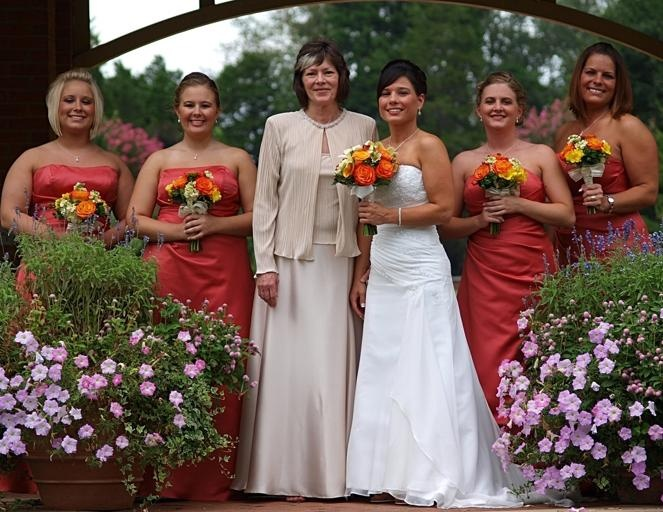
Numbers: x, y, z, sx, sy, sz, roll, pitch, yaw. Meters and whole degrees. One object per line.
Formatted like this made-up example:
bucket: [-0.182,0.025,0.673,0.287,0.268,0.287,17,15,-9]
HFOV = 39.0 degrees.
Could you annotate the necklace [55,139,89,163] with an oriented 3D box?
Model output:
necklace: [-1.892,-0.742,6.754,0.197,0.059,0.146,34,38,21]

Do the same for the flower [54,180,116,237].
flower: [-1.699,-0.308,6.393,0.388,0.219,0.398,11,21,-14]

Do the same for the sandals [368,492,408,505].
sandals: [0.363,1.575,6.098,0.274,0.063,0.184,-5,-3,13]

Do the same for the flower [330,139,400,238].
flower: [0.206,-0.449,6.021,0.385,0.413,0.398,2,29,3]

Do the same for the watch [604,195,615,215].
watch: [1.986,-0.375,6.681,0.077,0.105,0.098,3,7,-5]

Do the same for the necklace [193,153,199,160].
necklace: [-0.960,-0.701,6.618,0.021,0.009,0.066,3,30,-5]

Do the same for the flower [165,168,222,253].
flower: [-0.928,-0.328,6.568,0.482,0.603,0.549,4,9,20]
